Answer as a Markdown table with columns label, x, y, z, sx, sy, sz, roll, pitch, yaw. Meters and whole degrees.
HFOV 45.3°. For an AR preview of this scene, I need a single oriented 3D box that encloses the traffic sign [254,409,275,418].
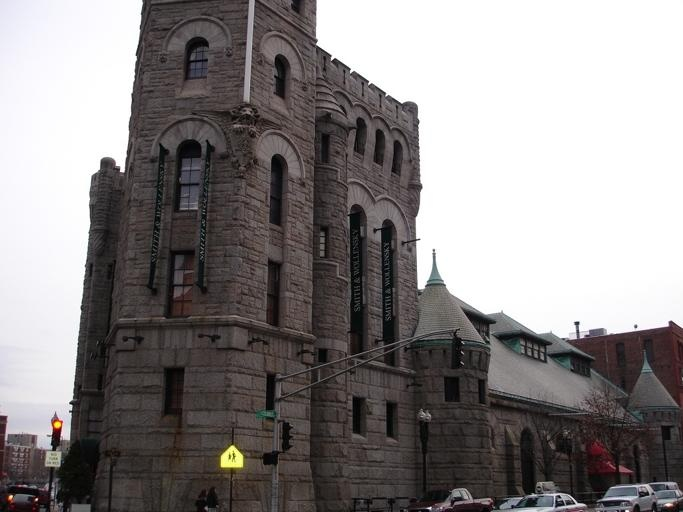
| label | x | y | z | sx | sy | sz | roll | pitch | yaw |
| --- | --- | --- | --- | --- | --- | --- | --- | --- | --- |
| traffic sign | -3.426 | 7.057 | 36.936 | 0.501 | 0.363 | 1.099 | -14 | -26 | 28 |

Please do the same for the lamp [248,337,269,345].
| label | x | y | z | sx | sy | sz | roll | pitch | yaw |
| --- | --- | --- | --- | --- | --- | --- | --- | --- | --- |
| lamp | -4.094 | 4.163 | 40.196 | 0.615 | 0.284 | 0.394 | 5 | -11 | -11 |

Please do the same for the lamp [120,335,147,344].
| label | x | y | z | sx | sy | sz | roll | pitch | yaw |
| --- | --- | --- | --- | --- | --- | --- | --- | --- | --- |
| lamp | -10.080 | 4.007 | 39.624 | 0.706 | 0.391 | 0.478 | 4 | -21 | -8 |

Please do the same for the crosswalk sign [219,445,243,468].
| label | x | y | z | sx | sy | sz | roll | pitch | yaw |
| --- | --- | --- | --- | --- | --- | --- | --- | --- | --- |
| crosswalk sign | -4.966 | 8.974 | 36.530 | 1.401 | 1.333 | 0.708 | 1 | -8 | -6 |

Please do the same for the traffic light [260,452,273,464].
| label | x | y | z | sx | sy | sz | roll | pitch | yaw |
| --- | --- | --- | --- | --- | --- | --- | --- | --- | --- |
| traffic light | -3.287 | 8.980 | 36.486 | 0.508 | 0.506 | 0.386 | 3 | -23 | -10 |
